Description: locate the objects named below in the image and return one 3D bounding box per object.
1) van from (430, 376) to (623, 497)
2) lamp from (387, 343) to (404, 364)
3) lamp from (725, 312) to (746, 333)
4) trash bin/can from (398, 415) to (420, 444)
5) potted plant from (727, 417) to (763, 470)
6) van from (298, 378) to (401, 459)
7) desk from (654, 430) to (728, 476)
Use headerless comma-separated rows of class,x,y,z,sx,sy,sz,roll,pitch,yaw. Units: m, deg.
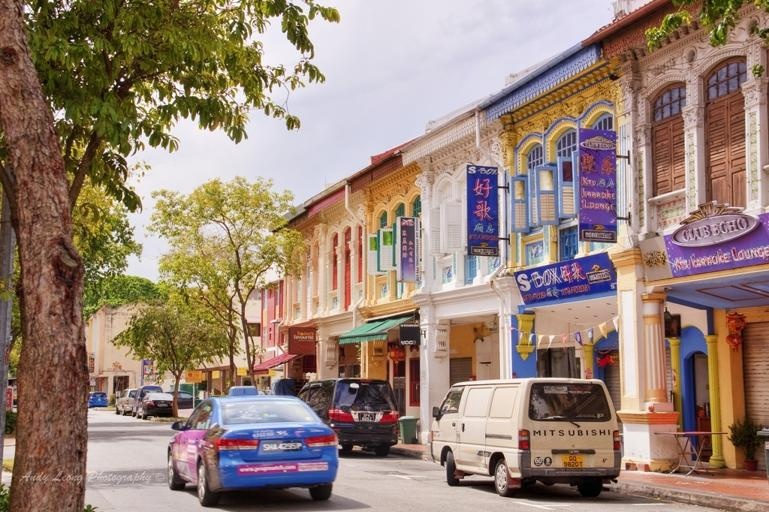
van,2.719,3.794,19.328,2.201,1.761,3.742,5,-10,-17
lamp,0.446,3.632,33.520,0.612,0.692,0.627,-1,-1,-3
lamp,8.536,1.623,21.849,0.474,0.652,0.211,0,-2,9
trash bin/can,0.793,5.669,29.629,0.858,1.153,0.844,1,-6,-10
potted plant,8.560,4.412,21.343,0.708,1.173,0.386,-5,-18,21
van,-1.130,4.630,27.295,1.683,1.337,3.153,4,-6,-19
desk,7.272,4.461,21.634,1.417,0.637,1.446,-11,2,-34
